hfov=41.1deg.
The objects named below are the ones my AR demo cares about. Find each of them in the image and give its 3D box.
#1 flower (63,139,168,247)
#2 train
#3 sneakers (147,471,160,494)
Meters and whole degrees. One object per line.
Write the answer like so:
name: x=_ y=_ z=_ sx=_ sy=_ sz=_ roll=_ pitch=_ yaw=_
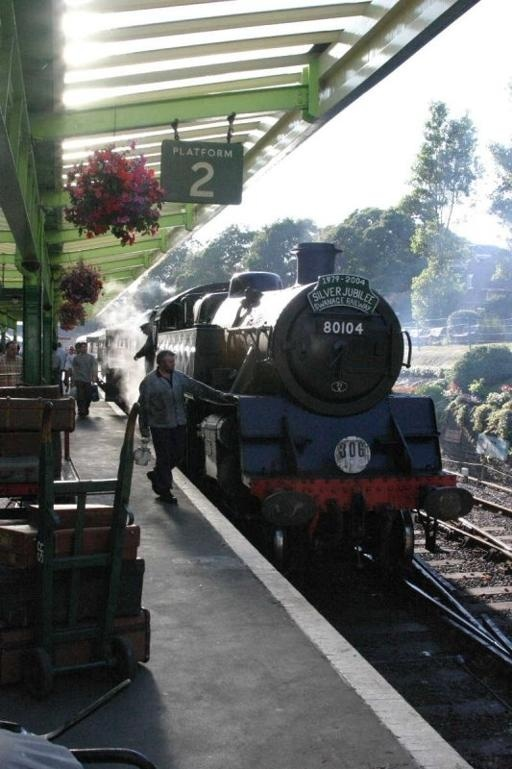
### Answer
flower: x=-1.458 y=-1.870 z=6.893 sx=0.993 sy=1.026 sz=1.048 roll=-8 pitch=11 yaw=-18
train: x=0.428 y=0.089 z=7.730 sx=2.035 sy=3.340 sz=4.039 roll=9 pitch=0 yaw=-21
sneakers: x=-1.080 y=1.026 z=7.213 sx=0.093 sy=0.242 sz=0.187 roll=-5 pitch=4 yaw=-8
